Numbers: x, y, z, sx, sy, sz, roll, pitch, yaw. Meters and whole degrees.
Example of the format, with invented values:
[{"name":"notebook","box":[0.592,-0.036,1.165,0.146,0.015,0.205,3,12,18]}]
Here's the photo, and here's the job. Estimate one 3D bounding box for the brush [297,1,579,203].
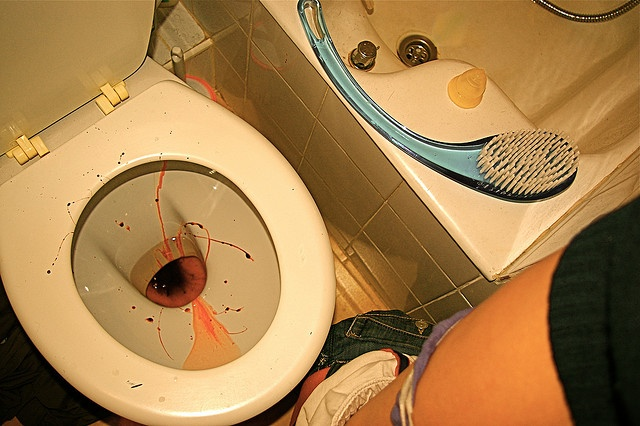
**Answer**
[{"name":"brush","box":[0.212,-0.216,0.950,0.280,0.517,0.077,-32,-14,-16]}]
